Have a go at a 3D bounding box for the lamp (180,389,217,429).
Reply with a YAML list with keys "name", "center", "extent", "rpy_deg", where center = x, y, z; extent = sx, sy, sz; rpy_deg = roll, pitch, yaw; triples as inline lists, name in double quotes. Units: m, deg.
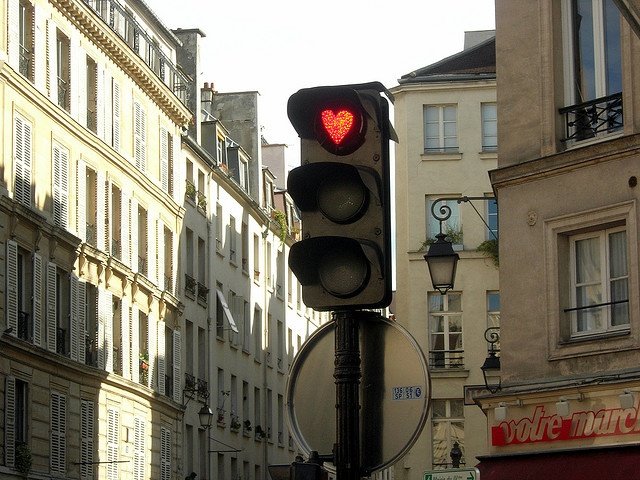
- name: "lamp"
  center: [-4.727, 6.518, 82.317]
  extent: [0.739, 1.449, 1.414]
  rpy_deg: [-4, -15, 9]
